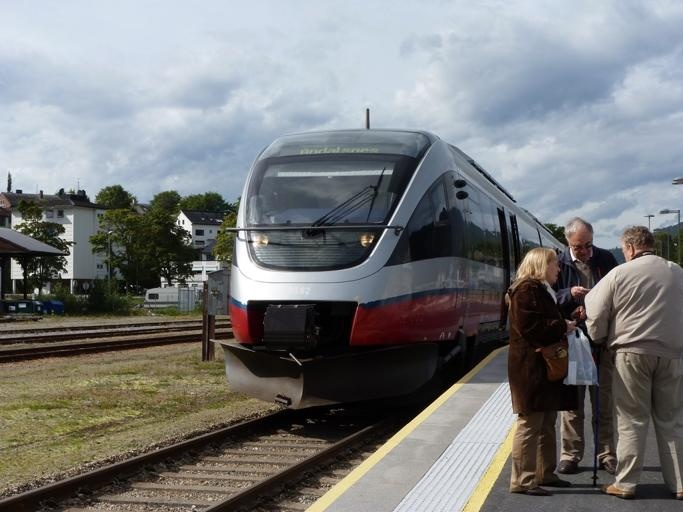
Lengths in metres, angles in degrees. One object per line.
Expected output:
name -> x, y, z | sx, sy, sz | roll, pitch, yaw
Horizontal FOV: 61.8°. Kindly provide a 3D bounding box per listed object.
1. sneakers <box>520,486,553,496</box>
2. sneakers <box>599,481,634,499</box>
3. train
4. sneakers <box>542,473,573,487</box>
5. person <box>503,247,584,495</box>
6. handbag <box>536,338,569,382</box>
sneakers -> 1.474, 1.760, 4.321 | 0.243, 0.099, 0.088 | -3, -3, 9
sneakers -> 2.061, 1.745, 4.254 | 0.072, 0.085, 0.190 | -1, 5, -45
train -> 2.058, -0.048, 12.100 | 2.768, 4.342, 10.692 | -2, -1, 36
sneakers -> 1.706, 1.770, 4.560 | 0.267, 0.110, 0.091 | -2, -4, 7
person -> 1.561, 0.878, 4.509 | 0.595, 1.230, 0.398 | -1, -1, -2
handbag -> 1.639, 0.794, 4.332 | 0.278, 0.321, 0.281 | -3, -7, 4
